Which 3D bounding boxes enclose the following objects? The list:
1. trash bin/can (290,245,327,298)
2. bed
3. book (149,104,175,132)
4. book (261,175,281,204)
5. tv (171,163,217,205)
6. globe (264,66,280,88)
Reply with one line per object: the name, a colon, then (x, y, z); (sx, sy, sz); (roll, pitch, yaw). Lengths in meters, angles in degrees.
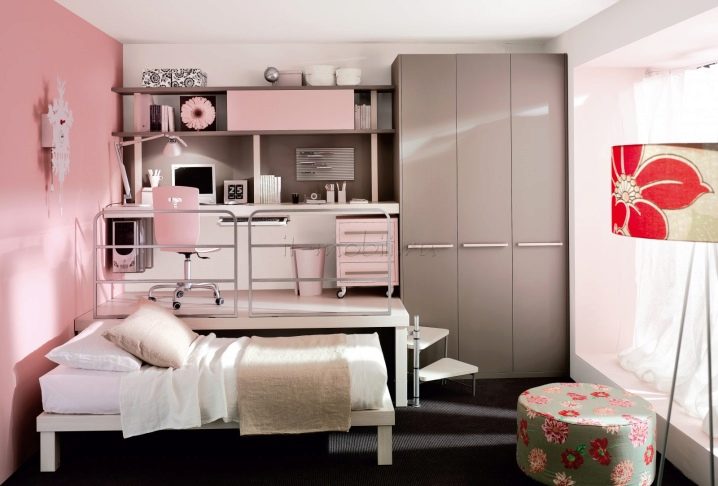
trash bin/can: (-0.480, 0.298, 5.961); (0.448, 0.561, 0.445); (0, -3, -2)
bed: (-1.131, 1.278, 4.632); (2.729, 0.774, 0.850); (-3, 16, -9)
book: (-1.959, -1.233, 6.132); (0.238, 0.315, 0.319); (0, 3, 4)
book: (-0.861, -0.536, 6.002); (0.238, 0.336, 0.240); (1, -1, -3)
tv: (-1.620, -0.570, 5.907); (0.438, 0.473, 0.157); (-1, -2, -3)
globe: (-0.847, -1.658, 6.006); (0.159, 0.184, 0.154); (-6, 9, 17)
